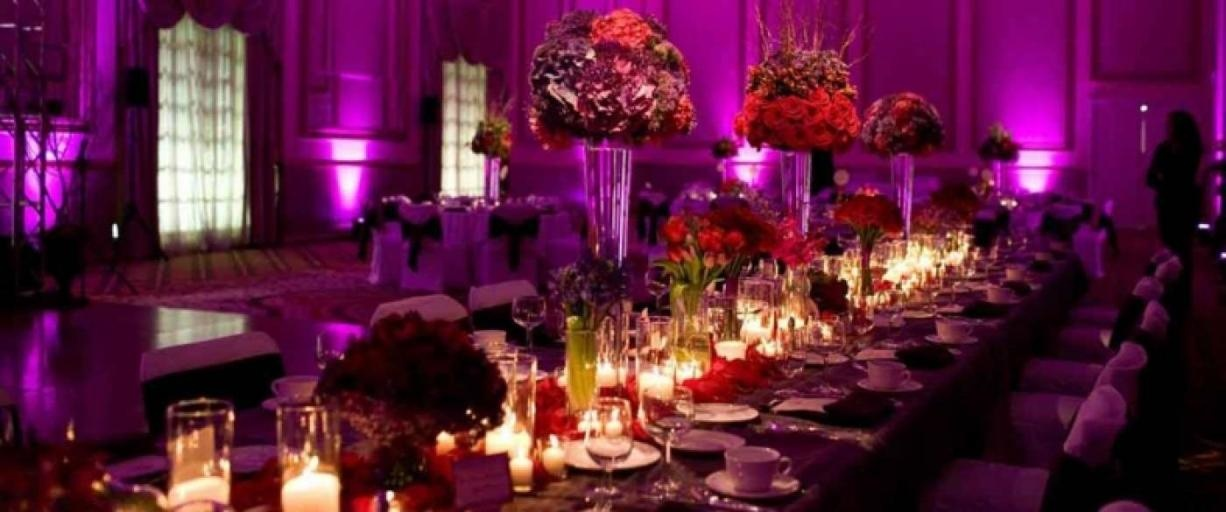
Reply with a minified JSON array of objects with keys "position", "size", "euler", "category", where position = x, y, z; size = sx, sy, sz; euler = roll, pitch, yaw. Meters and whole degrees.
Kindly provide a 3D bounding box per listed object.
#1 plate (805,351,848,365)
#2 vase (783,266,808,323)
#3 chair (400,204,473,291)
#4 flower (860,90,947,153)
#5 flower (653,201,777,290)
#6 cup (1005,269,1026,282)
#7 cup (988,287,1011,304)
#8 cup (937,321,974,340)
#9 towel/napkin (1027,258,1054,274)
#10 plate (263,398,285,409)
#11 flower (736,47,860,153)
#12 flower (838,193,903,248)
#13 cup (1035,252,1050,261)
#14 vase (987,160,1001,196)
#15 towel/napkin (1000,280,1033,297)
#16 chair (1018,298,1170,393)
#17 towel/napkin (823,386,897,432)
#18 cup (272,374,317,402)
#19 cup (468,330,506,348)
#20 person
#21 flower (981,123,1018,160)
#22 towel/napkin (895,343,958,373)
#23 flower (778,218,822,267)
[{"position":[2.142,1.053,8.641],"size":[0.294,0.046,0.173],"euler":[4,6,-1],"category":"plate"},{"position":[1.894,0.388,8.930],"size":[0.256,0.537,0.117],"euler":[-2,6,15],"category":"vase"},{"position":[-2.827,-0.107,15.436],"size":[1.410,1.784,1.409],"euler":[2,3,24],"category":"chair"},{"position":[3.588,-1.621,10.598],"size":[0.853,0.602,0.863],"euler":[2,15,39],"category":"flower"},{"position":[1.063,-0.163,8.734],"size":[1.019,0.679,0.934],"euler":[-16,18,-37],"category":"flower"},{"position":[5.002,0.241,10.632],"size":[0.183,0.102,0.176],"euler":[0,-6,0],"category":"cup"},{"position":[4.461,0.466,9.891],"size":[0.216,0.146,0.216],"euler":[2,-1,0],"category":"cup"},{"position":[3.600,0.789,9.050],"size":[0.295,0.122,0.235],"euler":[1,-3,8],"category":"cup"},{"position":[5.588,0.143,11.194],"size":[0.253,0.098,0.242],"euler":[0,2,5],"category":"towel/napkin"},{"position":[-3.227,1.409,8.102],"size":[0.214,0.050,0.202],"euler":[-1,7,-17],"category":"plate"},{"position":[2.112,-1.720,9.502],"size":[1.238,0.823,1.239],"euler":[6,12,30],"category":"flower"},{"position":[2.924,-0.403,9.957],"size":[0.692,0.631,0.663],"euler":[1,6,5],"category":"flower"},{"position":[5.809,0.010,11.589],"size":[0.156,0.087,0.154],"euler":[-1,0,0],"category":"cup"},{"position":[7.586,-1.579,16.956],"size":[0.231,0.594,0.525],"euler":[-1,6,21],"category":"vase"},{"position":[4.850,0.399,10.290],"size":[0.228,0.131,0.231],"euler":[2,-1,38],"category":"towel/napkin"},{"position":[5.426,1.237,10.118],"size":[1.280,1.034,1.376],"euler":[-1,30,38],"category":"chair"},{"position":[2.316,1.472,8.118],"size":[0.410,0.127,0.421],"euler":[11,22,43],"category":"towel/napkin"},{"position":[-3.078,1.277,8.118],"size":[0.448,0.164,0.334],"euler":[0,1,31],"category":"cup"},{"position":[-1.222,0.817,8.419],"size":[0.227,0.085,0.176],"euler":[-6,7,-20],"category":"cup"},{"position":[9.498,-1.323,14.444],"size":[0.714,2.216,1.187],"euler":[0,7,33],"category":"person"},{"position":[7.576,-2.203,16.816],"size":[0.743,0.563,0.804],"euler":[-6,45,28],"category":"flower"},{"position":[3.192,1.037,8.695],"size":[0.664,0.229,0.218],"euler":[-4,5,-9],"category":"towel/napkin"},{"position":[1.898,-0.130,9.040],"size":[0.505,0.319,0.492],"euler":[3,-5,-23],"category":"flower"}]
